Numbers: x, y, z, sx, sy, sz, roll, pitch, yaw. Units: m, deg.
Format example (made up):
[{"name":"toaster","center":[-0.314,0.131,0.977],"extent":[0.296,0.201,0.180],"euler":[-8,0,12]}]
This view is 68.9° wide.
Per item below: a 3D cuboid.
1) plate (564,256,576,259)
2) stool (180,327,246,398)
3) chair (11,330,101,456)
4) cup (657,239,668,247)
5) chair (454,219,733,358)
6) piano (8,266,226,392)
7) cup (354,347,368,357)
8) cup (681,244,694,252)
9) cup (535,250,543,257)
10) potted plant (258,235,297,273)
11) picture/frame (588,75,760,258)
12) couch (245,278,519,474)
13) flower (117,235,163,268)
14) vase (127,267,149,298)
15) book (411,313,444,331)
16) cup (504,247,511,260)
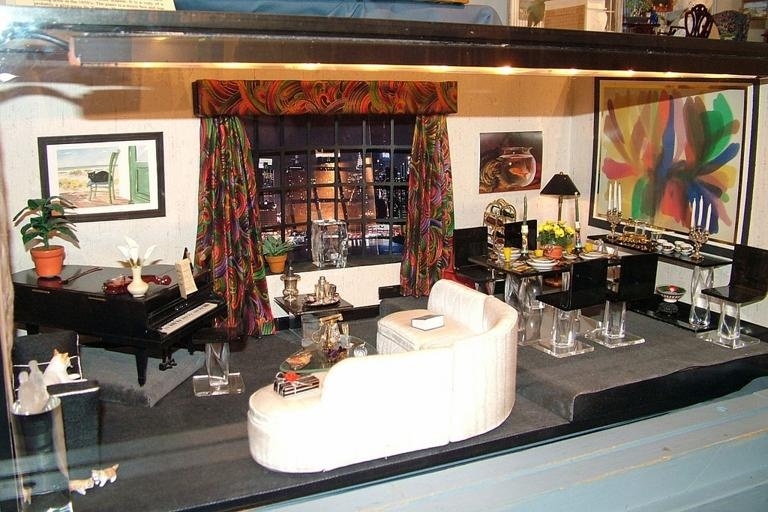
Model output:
[{"name":"plate","center":[2.420,0.013,7.310],"extent":[0.088,0.022,0.085],"euler":[0,11,10]},{"name":"stool","center":[-1.902,1.219,6.460],"extent":[0.670,0.578,0.660],"euler":[2,4,20]},{"name":"chair","center":[-2.803,1.186,4.774],"extent":[0.687,0.787,1.184],"euler":[-6,33,-35]},{"name":"cup","center":[3.858,-0.184,7.826],"extent":[0.100,0.068,0.097],"euler":[-2,14,0]},{"name":"chair","center":[2.047,0.365,7.669],"extent":[1.772,0.964,2.174],"euler":[-7,17,-24]},{"name":"piano","center":[-3.018,0.726,6.416],"extent":[2.149,0.883,1.396],"euler":[3,13,1]},{"name":"cup","center":[-0.249,1.005,5.838],"extent":[0.119,0.105,0.114],"euler":[2,1,0]},{"name":"cup","center":[4.122,-0.116,7.647],"extent":[0.124,0.077,0.120],"euler":[-2,13,1]},{"name":"cup","center":[1.994,-0.043,7.237],"extent":[0.097,0.068,0.093],"euler":[0,5,0]},{"name":"potted plant","center":[-1.586,-0.021,8.148],"extent":[0.500,0.465,0.450],"euler":[9,18,42]},{"name":"picture/frame","center":[4.172,-1.275,7.954],"extent":[0.101,2.393,2.606],"euler":[-4,14,-30]},{"name":"couch","center":[0.104,1.270,5.436],"extent":[2.368,0.724,1.606],"euler":[-4,15,-20]},{"name":"flower","center":[-2.994,-0.054,6.819],"extent":[0.472,0.432,0.418],"euler":[-1,2,-1]},{"name":"vase","center":[-2.628,0.270,5.961],"extent":[0.197,0.348,0.191],"euler":[-8,2,-24]},{"name":"book","center":[0.506,0.777,6.552],"extent":[0.225,0.089,0.219],"euler":[-8,11,-34]},{"name":"cup","center":[1.580,-0.040,7.281],"extent":[0.138,0.144,0.131],"euler":[-1,8,0]}]
